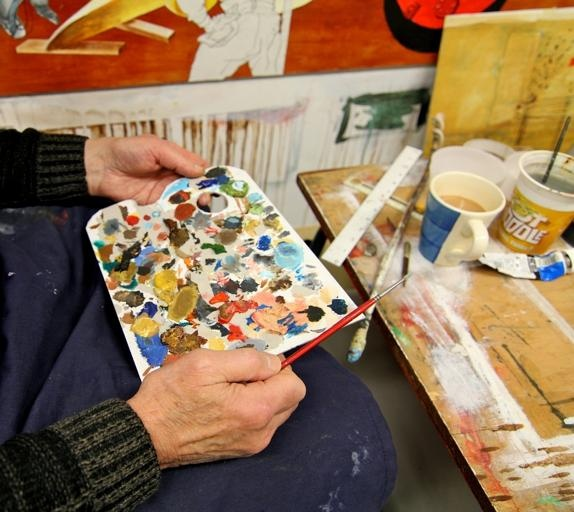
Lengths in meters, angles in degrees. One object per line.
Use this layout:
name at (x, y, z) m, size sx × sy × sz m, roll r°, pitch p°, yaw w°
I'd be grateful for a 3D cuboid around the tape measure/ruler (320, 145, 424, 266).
tape measure/ruler at (0.175, -0.100, 1.018) m, size 0.075 × 0.011 × 0.521 m, roll 28°, pitch 48°, yaw 17°

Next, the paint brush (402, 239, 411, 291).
paint brush at (0.224, 0.015, 0.898) m, size 0.017 × 0.015 × 0.109 m, roll 3°, pitch 43°, yaw 17°
